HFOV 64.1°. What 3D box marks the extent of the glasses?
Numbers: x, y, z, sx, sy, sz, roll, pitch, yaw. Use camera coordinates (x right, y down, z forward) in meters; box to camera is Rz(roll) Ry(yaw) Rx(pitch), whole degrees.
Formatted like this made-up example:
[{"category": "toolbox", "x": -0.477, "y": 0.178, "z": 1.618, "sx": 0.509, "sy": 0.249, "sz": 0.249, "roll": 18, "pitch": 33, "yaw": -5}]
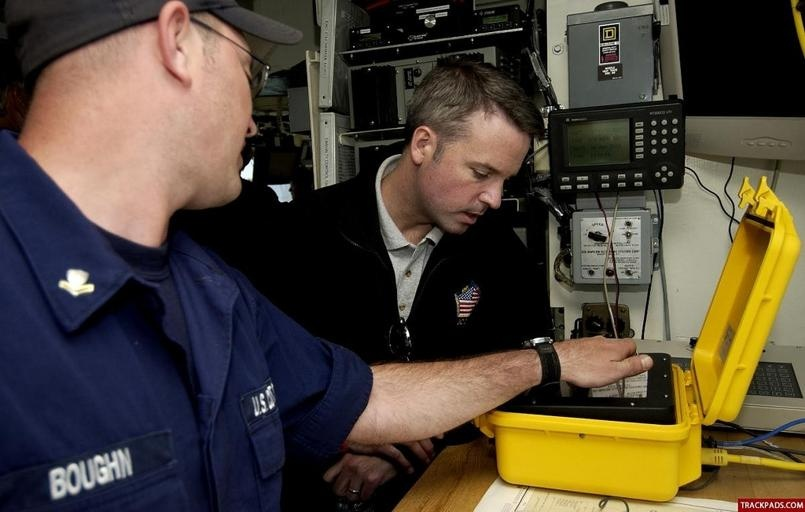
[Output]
[{"category": "glasses", "x": -0.466, "y": -0.528, "z": 1.741, "sx": 0.148, "sy": 0.043, "sz": 0.139, "roll": 37, "pitch": -9, "yaw": -7}]
